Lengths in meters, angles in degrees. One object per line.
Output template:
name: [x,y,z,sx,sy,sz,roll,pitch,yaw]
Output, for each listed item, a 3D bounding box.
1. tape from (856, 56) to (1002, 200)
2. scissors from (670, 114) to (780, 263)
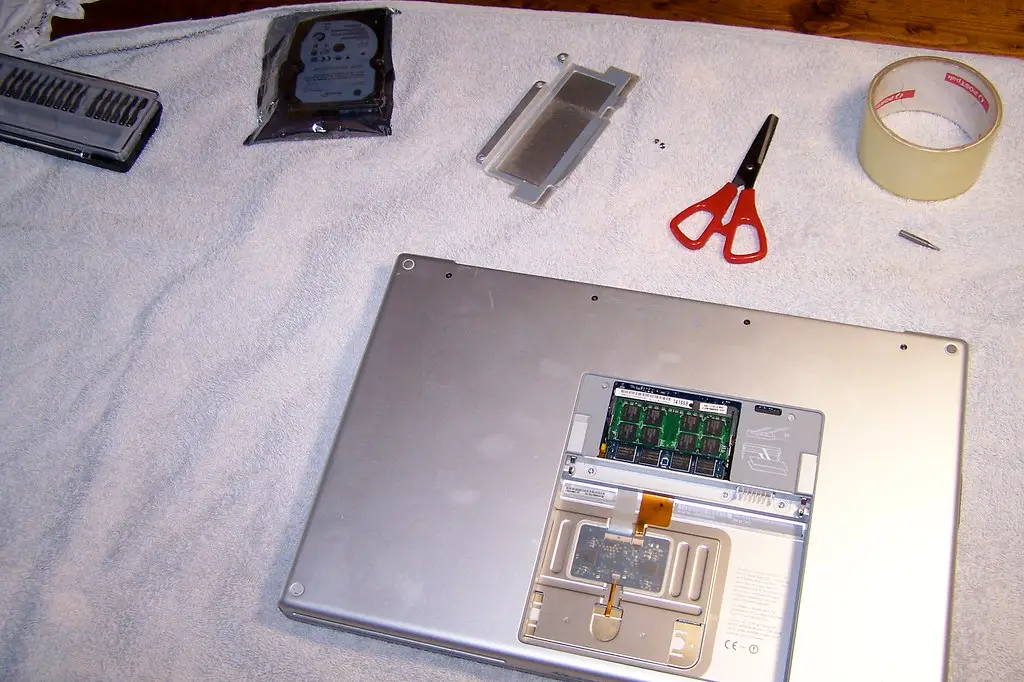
tape: [0.820,-0.419,1.630,0.238,0.250,0.163,10,-15,17]
scissors: [0.445,-0.325,1.688,0.199,0.356,0.040,13,-15,9]
